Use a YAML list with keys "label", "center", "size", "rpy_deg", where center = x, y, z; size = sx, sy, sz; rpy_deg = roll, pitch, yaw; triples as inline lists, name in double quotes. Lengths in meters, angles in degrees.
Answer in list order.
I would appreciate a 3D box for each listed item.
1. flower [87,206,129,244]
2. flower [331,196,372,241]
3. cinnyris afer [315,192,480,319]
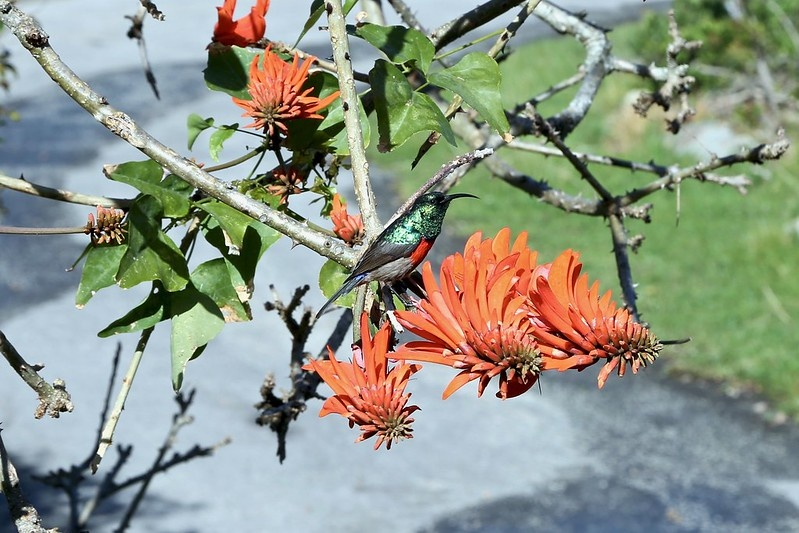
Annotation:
- label: "flower"
  center: [-2.250, -0.293, 7.062]
  size: [0.323, 0.302, 0.147]
  rpy_deg: [6, -5, -9]
- label: "flower"
  center: [-0.426, -0.339, 7.168]
  size: [0.193, 0.393, 0.197]
  rpy_deg: [-19, -12, -49]
- label: "cinnyris afer"
  center: [-0.056, -0.130, 7.066]
  size: [1.140, 0.835, 0.423]
  rpy_deg: [-2, 7, 14]
